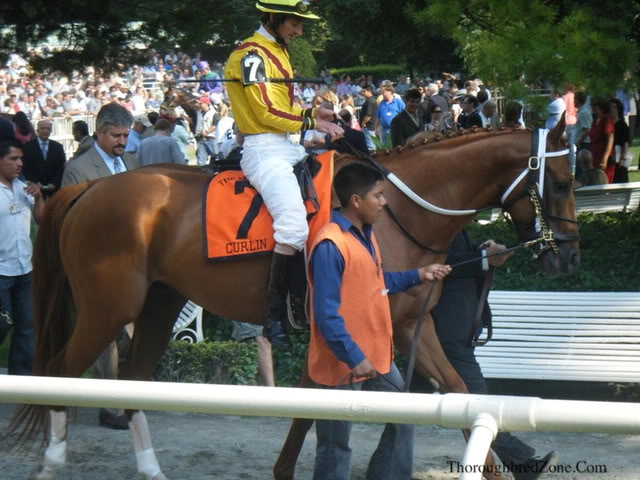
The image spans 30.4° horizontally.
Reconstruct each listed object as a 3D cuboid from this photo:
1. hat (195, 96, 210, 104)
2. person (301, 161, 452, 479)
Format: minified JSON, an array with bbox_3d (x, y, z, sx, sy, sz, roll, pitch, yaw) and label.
[{"bbox_3d":[-1.909,-2.261,19.063,0.145,0.134,0.045,8,-37,-13],"label":"hat"},{"bbox_3d":[0.269,0.538,7.881,0.862,2.048,0.744,-5,15,-17],"label":"person"}]
